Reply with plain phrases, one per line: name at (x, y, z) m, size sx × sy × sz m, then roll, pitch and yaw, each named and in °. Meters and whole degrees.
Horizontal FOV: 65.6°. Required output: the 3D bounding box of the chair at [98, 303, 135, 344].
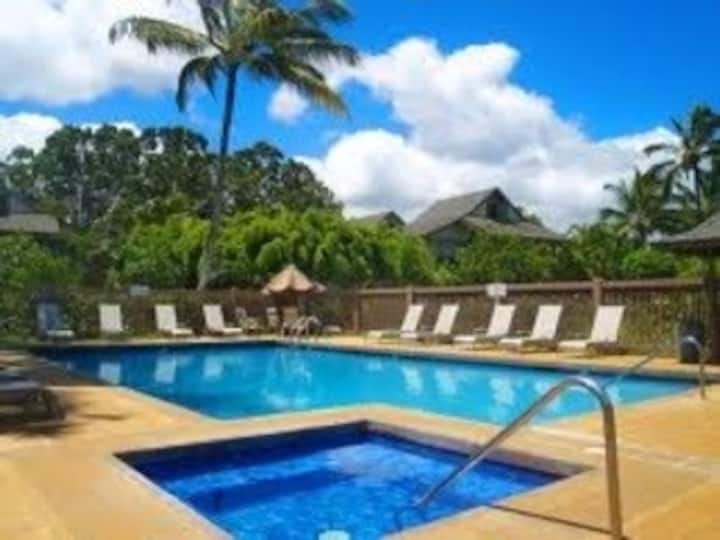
chair at (-7.615, 1.649, 17.334) m, size 0.788 × 1.008 × 1.409 m, roll 4°, pitch 0°, yaw -40°

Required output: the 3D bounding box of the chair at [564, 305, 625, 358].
chair at (5.666, 1.382, 13.296) m, size 1.535 × 1.042 × 0.643 m, roll 3°, pitch -2°, yaw -34°

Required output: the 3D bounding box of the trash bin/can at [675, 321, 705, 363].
trash bin/can at (6.942, 1.544, 11.820) m, size 0.529 × 0.915 × 0.676 m, roll 0°, pitch -2°, yaw 32°

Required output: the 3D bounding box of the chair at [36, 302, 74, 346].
chair at (-8.887, 1.647, 16.330) m, size 1.318 × 1.016 × 0.807 m, roll 12°, pitch 2°, yaw 35°
